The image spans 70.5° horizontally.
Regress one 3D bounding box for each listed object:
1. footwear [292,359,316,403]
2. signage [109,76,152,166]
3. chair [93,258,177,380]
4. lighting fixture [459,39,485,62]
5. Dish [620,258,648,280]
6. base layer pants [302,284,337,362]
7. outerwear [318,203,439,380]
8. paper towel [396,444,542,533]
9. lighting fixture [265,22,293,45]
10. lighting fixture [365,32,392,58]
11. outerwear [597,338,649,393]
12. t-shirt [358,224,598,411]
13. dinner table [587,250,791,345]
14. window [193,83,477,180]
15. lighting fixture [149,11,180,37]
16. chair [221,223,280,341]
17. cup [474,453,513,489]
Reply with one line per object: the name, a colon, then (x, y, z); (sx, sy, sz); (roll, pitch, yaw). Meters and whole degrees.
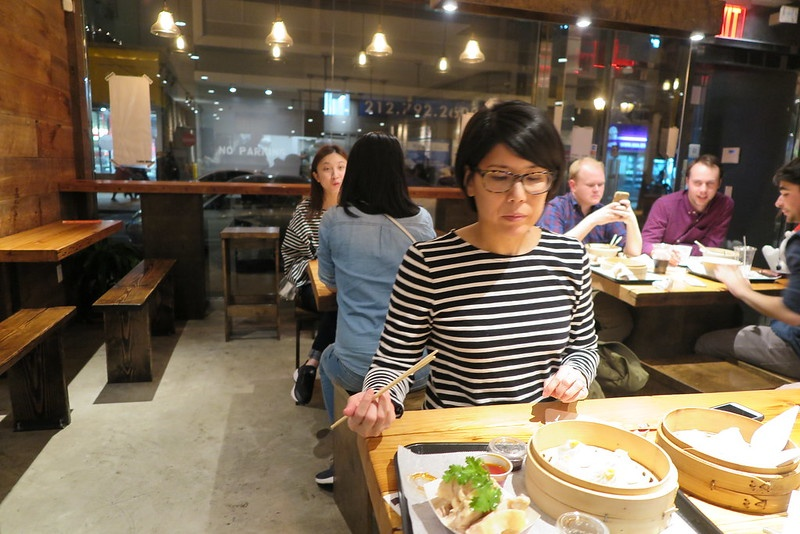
footwear: (-0.711, 0.841, 4.269); (0.155, 0.203, 0.470); (21, 21, -18)
signage: (-2.881, -1.583, 6.044); (0.477, 0.927, 0.078); (-1, 9, -11)
chair: (-2.223, 0.454, 4.742); (0.235, 0.435, 0.898); (2, 20, -6)
lighting fixture: (0.861, -2.559, 6.748); (0.288, 0.309, 0.286); (12, 29, 25)
Dish: (1.549, 0.005, 3.729); (0.140, 0.110, 0.240); (7, 14, 22)
base layer pants: (-0.573, 0.380, 4.001); (0.363, 0.375, 0.582); (-1, 24, -12)
outerwear: (-0.132, 0.000, 3.457); (0.689, 1.248, 0.721); (1, 8, 9)
paper towel: (0.142, 0.809, 2.107); (0.314, 0.060, 0.307); (-8, 23, -22)
lighting fixture: (-1.289, -2.521, 5.998); (0.271, 0.283, 0.606); (-2, 13, -12)
lighting fixture: (-0.247, -2.481, 6.391); (0.277, 0.298, 0.278); (0, 3, -3)
outerwear: (1.352, 0.644, 3.497); (0.342, 0.279, 0.145); (-21, -19, -20)
t-shirt: (0.299, 0.185, 2.698); (1.271, 0.955, 0.724); (-2, 14, -10)
dinner table: (1.858, 0.326, 3.915); (0.833, 0.787, 0.818); (-2, 12, -13)
window: (-0.831, -1.470, 6.742); (3.653, 1.218, 0.035); (-9, 37, -32)
lighting fixture: (-2.425, -2.515, 5.793); (0.293, 0.261, 0.443); (-4, 14, -20)
chair: (-1.470, 0.100, 5.546); (0.546, 1.001, 0.940); (-3, 14, -17)
cup: (0.342, 0.719, 2.058); (0.114, 0.082, 0.112); (1, 9, 0)
